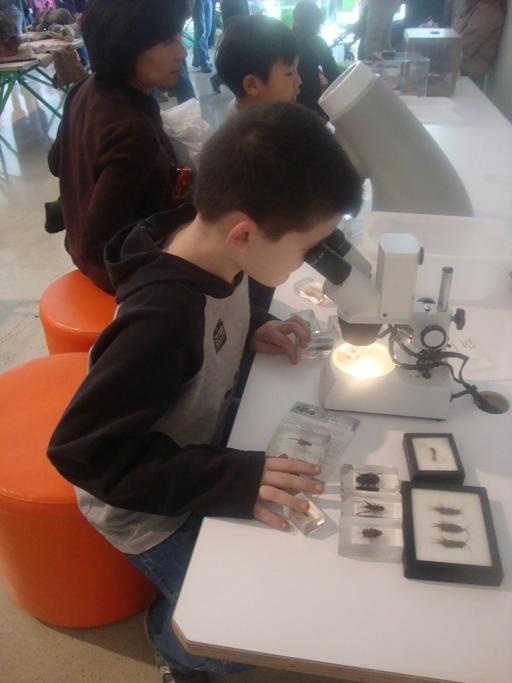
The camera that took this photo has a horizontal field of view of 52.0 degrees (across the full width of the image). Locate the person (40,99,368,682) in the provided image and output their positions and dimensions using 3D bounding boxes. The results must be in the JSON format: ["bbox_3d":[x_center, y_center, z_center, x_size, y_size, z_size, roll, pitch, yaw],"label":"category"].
[{"bbox_3d":[-0.076,0.099,1.082,0.593,1.037,0.551,0,38,-6],"label":"person"}]

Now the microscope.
[{"bbox_3d":[0.222,-0.033,1.087,0.341,0.399,0.222,4,27,-1],"label":"microscope"}]
